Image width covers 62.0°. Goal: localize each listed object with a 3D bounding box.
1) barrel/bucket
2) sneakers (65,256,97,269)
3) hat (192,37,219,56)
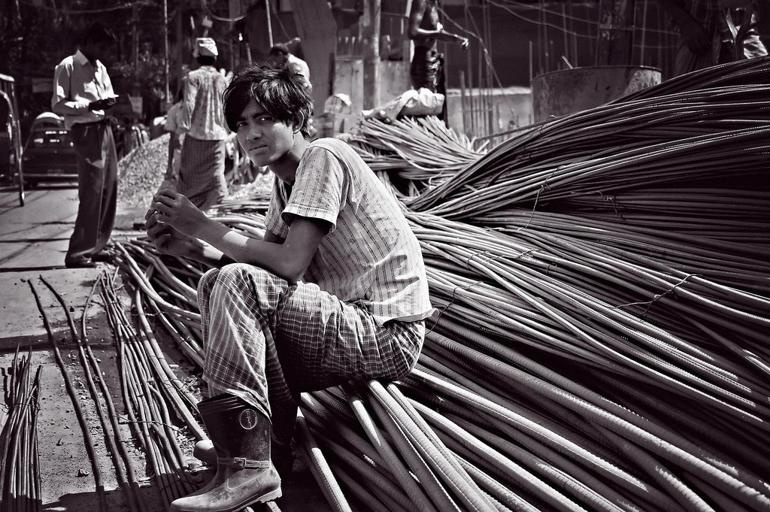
[{"bbox_3d":[1.470,-1.163,4.617,0.867,0.354,0.435,4,8,19],"label":"barrel/bucket"},{"bbox_3d":[-2.154,0.043,4.598,0.195,0.082,0.089,-2,7,-15],"label":"sneakers"},{"bbox_3d":[-1.526,-1.798,5.521,0.172,0.198,0.340,-1,8,-17],"label":"hat"}]
